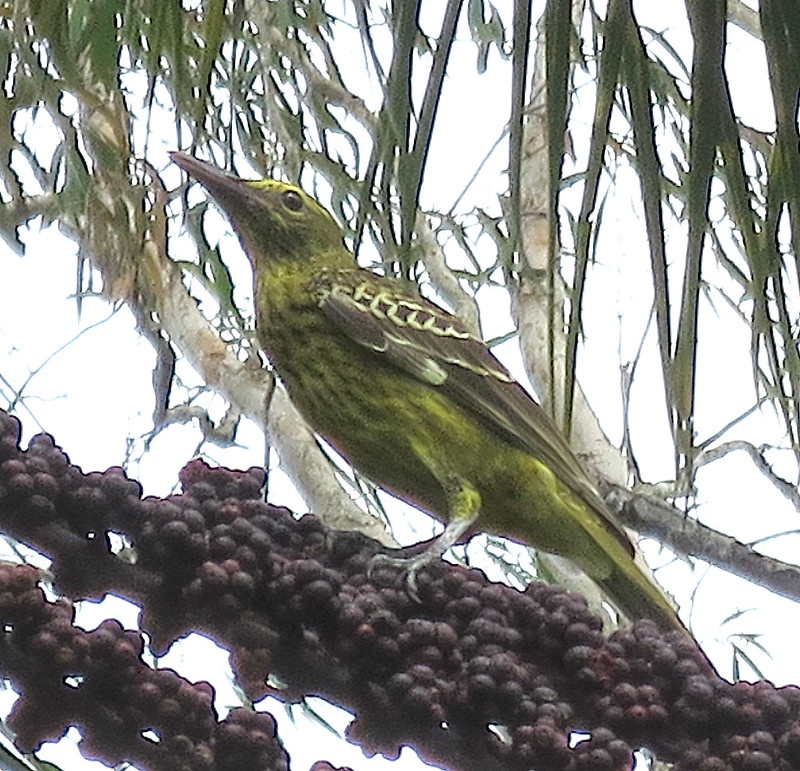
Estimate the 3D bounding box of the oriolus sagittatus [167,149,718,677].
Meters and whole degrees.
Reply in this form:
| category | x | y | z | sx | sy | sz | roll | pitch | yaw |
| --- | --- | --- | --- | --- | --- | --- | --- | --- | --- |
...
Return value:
| category | x | y | z | sx | sy | sz | roll | pitch | yaw |
| --- | --- | --- | --- | --- | --- | --- | --- | --- | --- |
| oriolus sagittatus | 0.092 | 0.045 | 3.751 | 1.044 | 0.638 | 0.343 | 16 | -27 | -31 |
